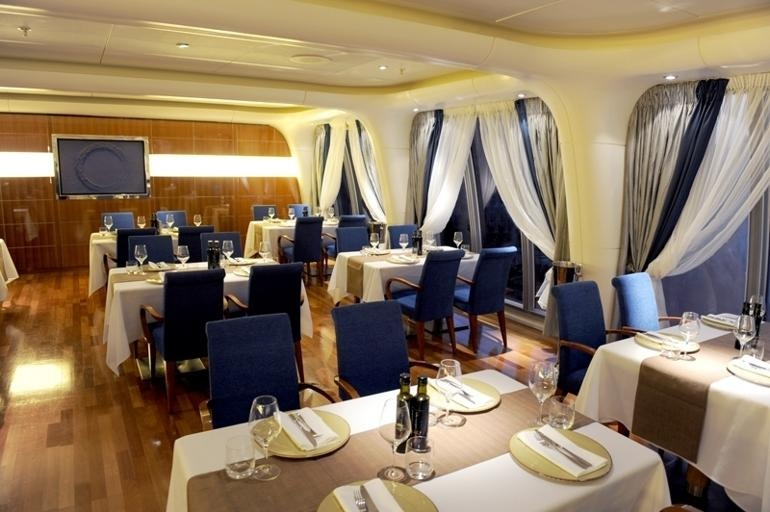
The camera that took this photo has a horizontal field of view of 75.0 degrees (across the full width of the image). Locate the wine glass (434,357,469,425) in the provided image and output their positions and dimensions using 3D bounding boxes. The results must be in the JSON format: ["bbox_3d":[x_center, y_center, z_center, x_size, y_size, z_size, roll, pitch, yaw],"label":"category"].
[{"bbox_3d":[0.451,0.894,3.383,0.187,0.403,0.310,0,11,7],"label":"wine glass"}]

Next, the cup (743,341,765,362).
[{"bbox_3d":[2.908,0.753,3.950,0.111,0.212,0.124,-5,9,-25],"label":"cup"}]

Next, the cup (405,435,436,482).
[{"bbox_3d":[0.214,1.202,3.026,0.201,0.229,0.213,0,6,0],"label":"cup"}]

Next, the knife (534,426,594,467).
[{"bbox_3d":[1.086,1.190,3.067,0.102,0.041,0.382,-33,32,-21],"label":"knife"}]

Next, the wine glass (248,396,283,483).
[{"bbox_3d":[-0.703,1.044,2.958,0.170,0.437,0.272,-4,11,-15],"label":"wine glass"}]

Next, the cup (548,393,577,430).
[{"bbox_3d":[1.164,0.990,3.262,0.196,0.218,0.204,0,3,0],"label":"cup"}]

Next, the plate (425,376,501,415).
[{"bbox_3d":[0.563,0.980,3.486,0.322,0.016,0.341,-6,12,-29],"label":"plate"}]

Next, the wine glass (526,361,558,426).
[{"bbox_3d":[1.051,0.869,3.360,0.172,0.413,0.272,2,11,17],"label":"wine glass"}]

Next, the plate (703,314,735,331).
[{"bbox_3d":[3.173,0.618,4.735,0.196,0.051,0.196,-3,8,-28],"label":"plate"}]

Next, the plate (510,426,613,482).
[{"bbox_3d":[1.065,1.197,3.060,0.588,0.164,0.334,1,11,11],"label":"plate"}]

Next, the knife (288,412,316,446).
[{"bbox_3d":[-0.516,1.089,3.188,0.079,0.026,0.300,-6,24,-24],"label":"knife"}]
